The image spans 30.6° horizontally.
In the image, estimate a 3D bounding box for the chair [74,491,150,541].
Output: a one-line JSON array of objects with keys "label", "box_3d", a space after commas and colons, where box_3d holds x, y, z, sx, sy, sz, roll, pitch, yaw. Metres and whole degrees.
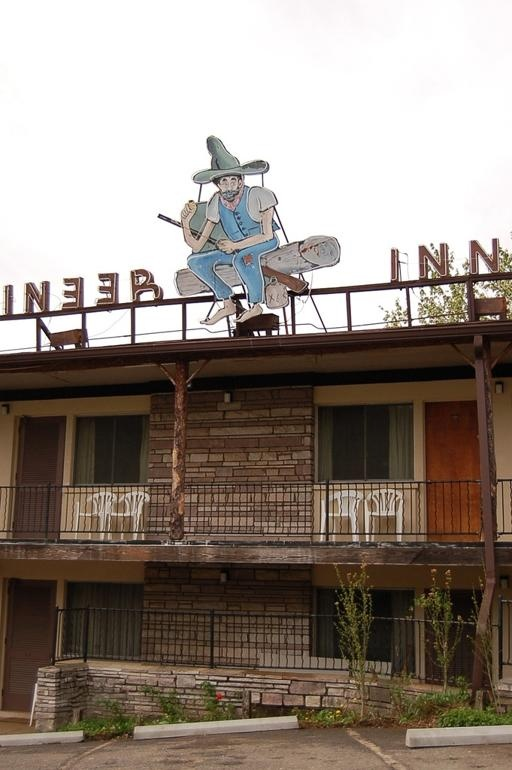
[{"label": "chair", "box_3d": [-2.333, 2.173, 15.450, 0.814, 0.543, 0.288, -2, -16, 18]}]

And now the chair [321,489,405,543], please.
[{"label": "chair", "box_3d": [1.642, 1.967, 13.930, 0.841, 0.559, 0.310, -4, -21, 16]}]
